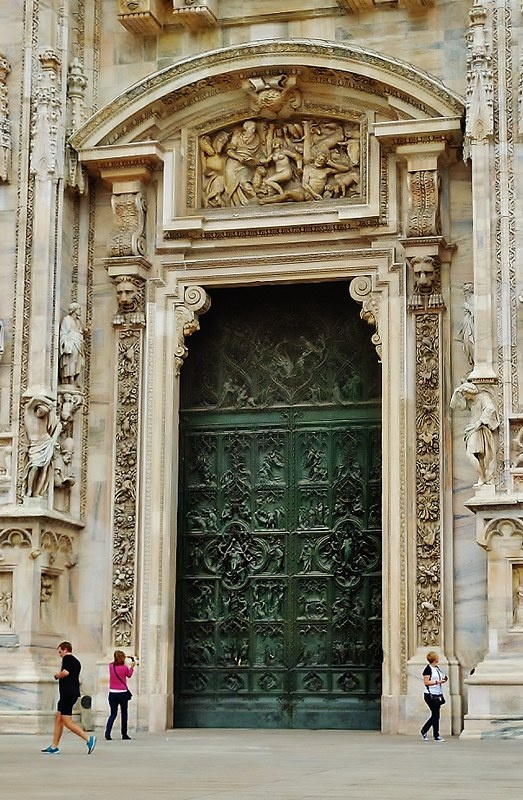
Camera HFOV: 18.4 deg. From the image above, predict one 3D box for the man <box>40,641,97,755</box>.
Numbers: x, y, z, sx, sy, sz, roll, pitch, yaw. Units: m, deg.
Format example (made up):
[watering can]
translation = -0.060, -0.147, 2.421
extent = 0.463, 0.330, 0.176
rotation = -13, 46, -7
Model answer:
[man]
translation = -1.804, 2.768, 15.138
extent = 0.481, 1.052, 1.233
rotation = 1, -12, -7
